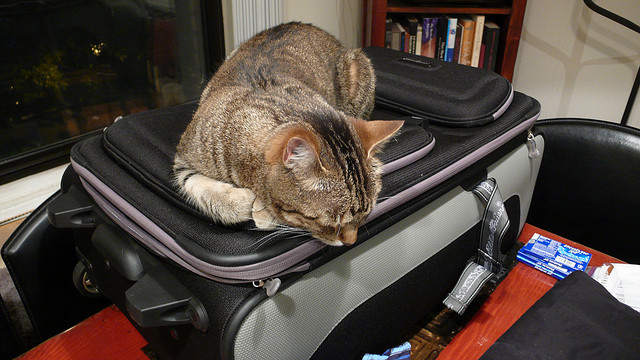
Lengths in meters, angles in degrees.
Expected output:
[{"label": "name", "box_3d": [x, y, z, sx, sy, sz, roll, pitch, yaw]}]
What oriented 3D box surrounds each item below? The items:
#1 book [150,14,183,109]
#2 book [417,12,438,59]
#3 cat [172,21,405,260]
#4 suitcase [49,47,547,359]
[{"label": "book", "box_3d": [-0.813, -0.619, 2.310, 0.058, 0.491, 0.218, 20, 37, 18]}, {"label": "book", "box_3d": [0.600, -0.794, 2.444, 0.077, 0.198, 0.209, -13, 24, -23]}, {"label": "cat", "box_3d": [-0.110, -0.276, 1.513, 0.695, 0.341, 1.015, 2, 49, -10]}, {"label": "suitcase", "box_3d": [0.074, -0.015, 1.383, 0.864, 0.577, 1.285, 25, 36, 36]}]
